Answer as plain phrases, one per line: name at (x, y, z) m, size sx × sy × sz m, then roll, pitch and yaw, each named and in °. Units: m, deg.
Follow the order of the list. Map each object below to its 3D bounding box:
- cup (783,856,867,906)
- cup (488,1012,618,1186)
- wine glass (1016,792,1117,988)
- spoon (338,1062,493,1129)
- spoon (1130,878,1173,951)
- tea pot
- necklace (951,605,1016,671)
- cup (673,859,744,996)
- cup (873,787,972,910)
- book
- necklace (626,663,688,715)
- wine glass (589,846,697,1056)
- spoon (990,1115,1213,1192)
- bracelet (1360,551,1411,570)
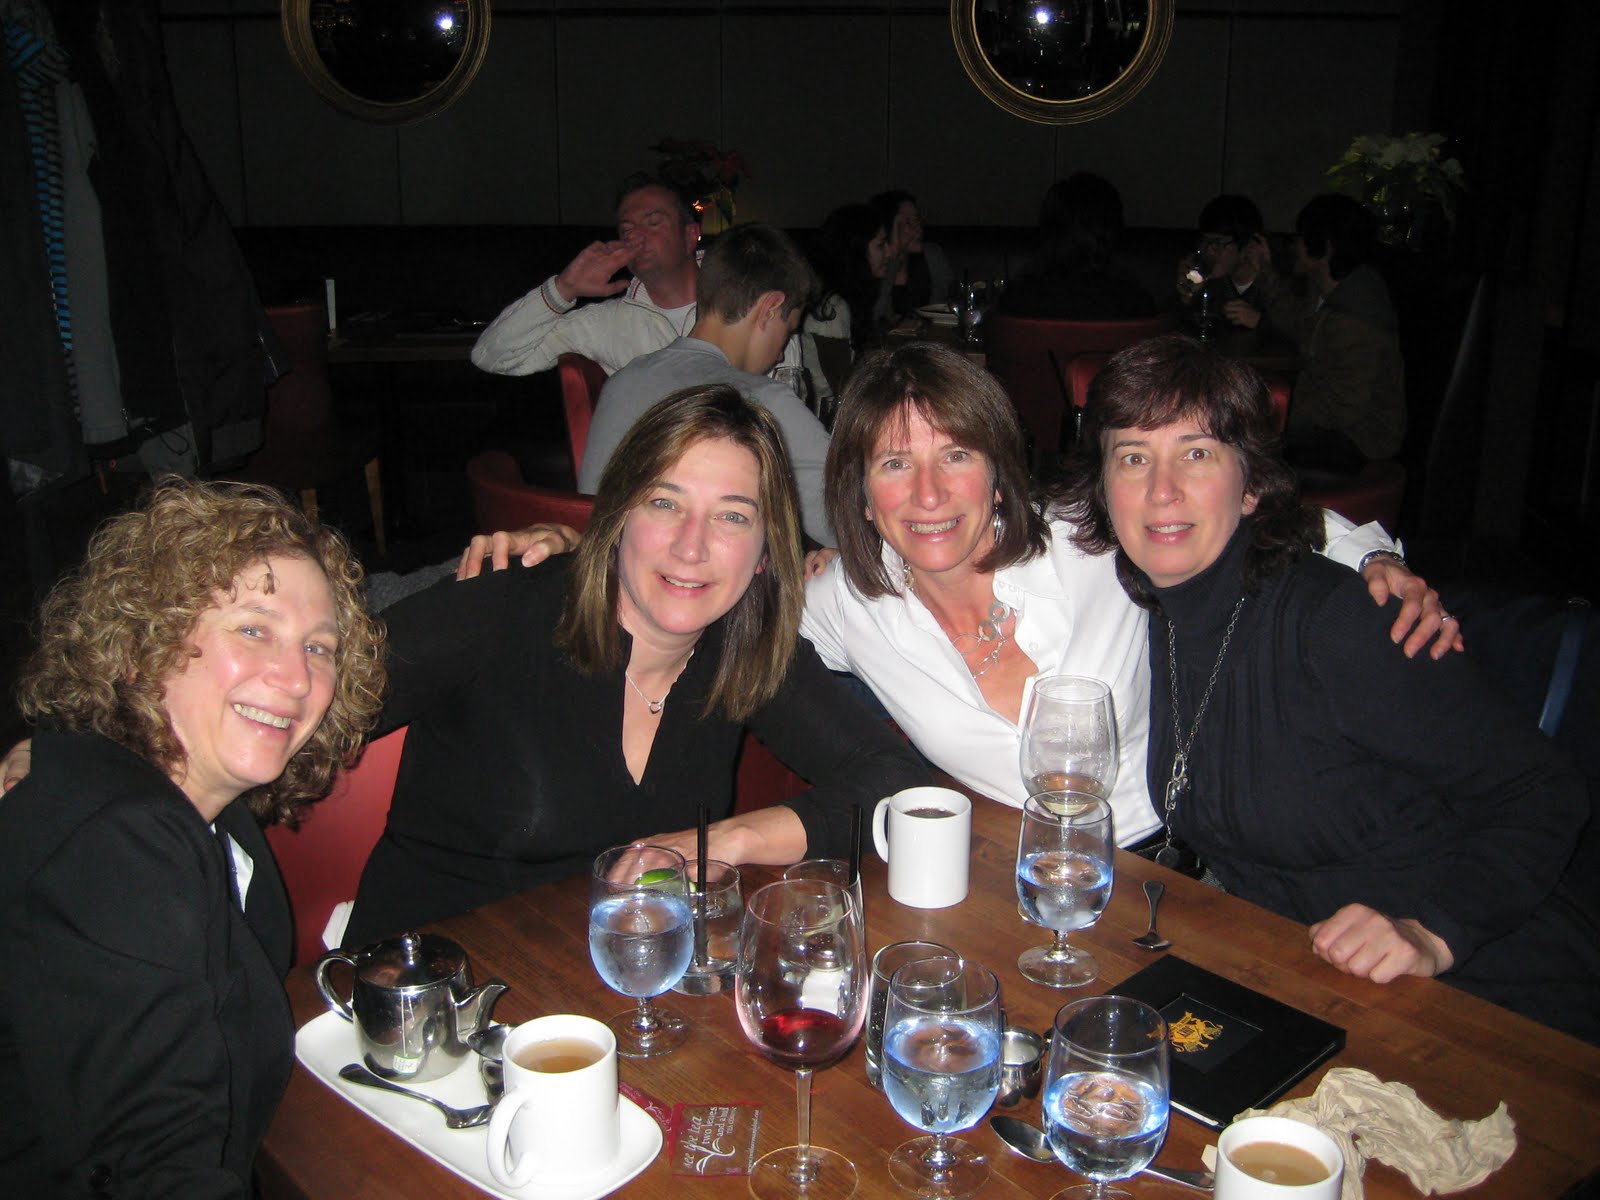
cup at (0.037, 0.367, 1.668) m, size 0.081 × 0.082 × 0.085 m, roll 2°, pitch -2°, yaw 0°
cup at (-0.237, 0.539, 1.356) m, size 0.114 × 0.138 × 0.183 m, roll 4°, pitch 18°, yaw 15°
wine glass at (0.352, 0.395, 1.628) m, size 0.146 × 0.267 × 0.158 m, roll 5°, pitch 22°, yaw 17°
spoon at (-0.441, 0.569, 1.409) m, size 0.131 × 0.024 × 0.027 m, roll 13°, pitch 26°, yaw 12°
spoon at (0.487, 0.421, 1.691) m, size 0.032 × 0.017 × 0.119 m, roll -2°, pitch 37°, yaw 12°
tea pot at (-0.469, 0.477, 1.482) m, size 0.207 × 0.160 × 0.137 m, roll 7°, pitch 14°, yaw 8°
necklace at (0.364, 0.071, 2.357) m, size 0.080 × 0.141 × 0.034 m, roll 25°, pitch -10°, yaw 16°
cup at (-0.098, 0.446, 1.665) m, size 0.121 × 0.136 × 0.127 m, roll -5°, pitch -12°, yaw -1°
cup at (0.180, 0.356, 1.812) m, size 0.105 × 0.131 × 0.168 m, roll -1°, pitch 6°, yaw -10°
book at (0.507, 0.530, 1.504) m, size 0.177 × 0.025 × 0.174 m, roll -22°, pitch 32°, yaw -37°
necklace at (-0.239, 0.153, 2.072) m, size 0.062 × 0.091 × 0.024 m, roll 25°, pitch 2°, yaw 13°
wine glass at (-0.191, 0.437, 1.526) m, size 0.121 × 0.215 × 0.125 m, roll 0°, pitch 10°, yaw 7°
spoon at (0.315, 0.587, 1.299) m, size 0.237 × 0.036 × 0.046 m, roll 13°, pitch 41°, yaw 17°
bracelet at (1.050, -0.075, 2.218) m, size 0.060 × 0.023 × 0.062 m, roll -5°, pitch 5°, yaw 24°
